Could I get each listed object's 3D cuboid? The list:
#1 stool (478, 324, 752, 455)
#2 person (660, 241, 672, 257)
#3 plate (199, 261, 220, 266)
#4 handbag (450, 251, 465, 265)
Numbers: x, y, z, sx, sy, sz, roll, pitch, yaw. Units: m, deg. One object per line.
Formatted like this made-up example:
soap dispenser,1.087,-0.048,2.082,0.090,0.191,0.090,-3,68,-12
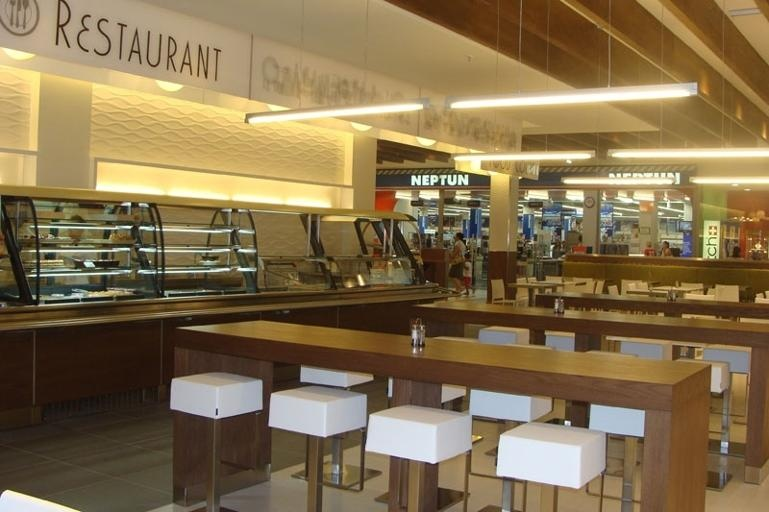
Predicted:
stool,1.815,1.037,4.536,1.320,0.583,0.388,1,-1,30
person,8.865,-0.207,18.085,0.299,0.824,0.354,4,11,29
plate,-2.251,0.087,7.394,0.043,0.082,0.251,4,9,37
handbag,2.299,0.029,17.575,0.514,0.590,0.325,-1,0,-16
